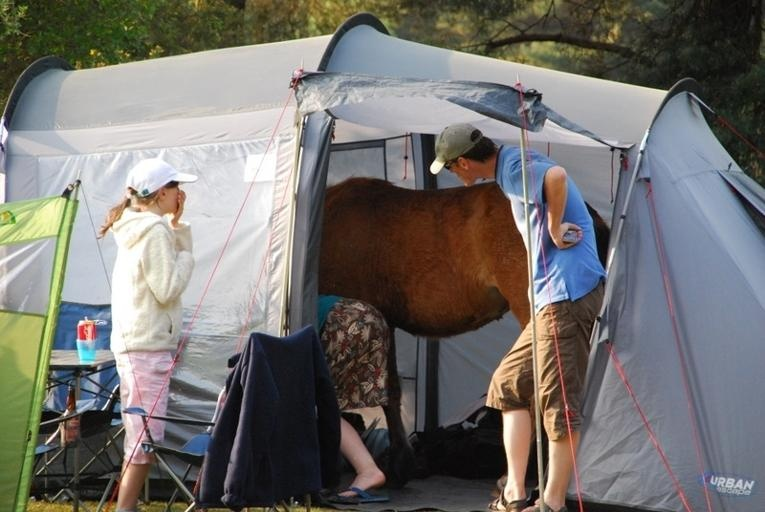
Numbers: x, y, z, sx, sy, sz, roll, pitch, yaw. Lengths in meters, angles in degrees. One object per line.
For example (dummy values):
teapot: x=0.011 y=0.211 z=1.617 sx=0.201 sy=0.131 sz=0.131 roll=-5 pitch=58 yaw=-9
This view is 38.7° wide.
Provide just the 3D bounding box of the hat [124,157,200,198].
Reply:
hat: x=-1.860 y=-0.691 z=9.286 sx=0.544 sy=0.355 sz=0.383 roll=-12 pitch=1 yaw=-18

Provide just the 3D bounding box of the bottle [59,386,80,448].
bottle: x=-2.655 y=1.381 z=9.258 sx=0.158 sy=0.473 sz=0.171 roll=1 pitch=-5 yaw=0

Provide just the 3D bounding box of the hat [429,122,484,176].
hat: x=0.579 y=-0.996 z=9.456 sx=0.509 sy=0.309 sz=0.406 roll=-27 pitch=16 yaw=7

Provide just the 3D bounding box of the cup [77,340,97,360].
cup: x=-2.519 y=0.805 z=9.270 sx=0.128 sy=0.215 sz=0.148 roll=1 pitch=-4 yaw=-6

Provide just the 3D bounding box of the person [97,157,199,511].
person: x=-1.937 y=0.628 z=8.985 sx=0.724 sy=2.960 sz=0.516 roll=2 pitch=-5 yaw=-17

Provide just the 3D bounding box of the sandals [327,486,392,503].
sandals: x=-0.209 y=2.117 z=9.566 sx=0.578 sy=0.136 sz=0.155 roll=4 pitch=-7 yaw=-24
